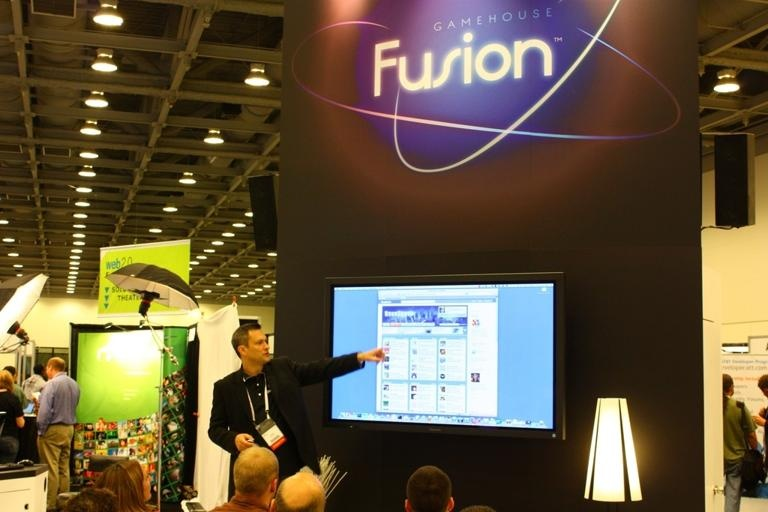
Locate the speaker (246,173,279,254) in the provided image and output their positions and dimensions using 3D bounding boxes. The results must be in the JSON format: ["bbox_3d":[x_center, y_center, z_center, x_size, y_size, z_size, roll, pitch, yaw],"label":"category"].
[{"bbox_3d":[-1.085,-0.399,5.968,0.245,0.742,0.391,1,-9,-13],"label":"speaker"}]

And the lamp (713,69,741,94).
[{"bbox_3d":[4.102,-2.134,7.958,0.238,0.322,0.309,-6,-10,27],"label":"lamp"}]

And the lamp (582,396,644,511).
[{"bbox_3d":[1.382,1.181,4.037,0.318,0.611,0.112,0,-8,-9],"label":"lamp"}]

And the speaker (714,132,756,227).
[{"bbox_3d":[2.603,-0.566,4.918,0.287,0.725,0.161,-6,-10,30],"label":"speaker"}]

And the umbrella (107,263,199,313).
[{"bbox_3d":[-2.256,0.319,6.532,0.893,0.468,0.560,0,-9,-4],"label":"umbrella"}]
